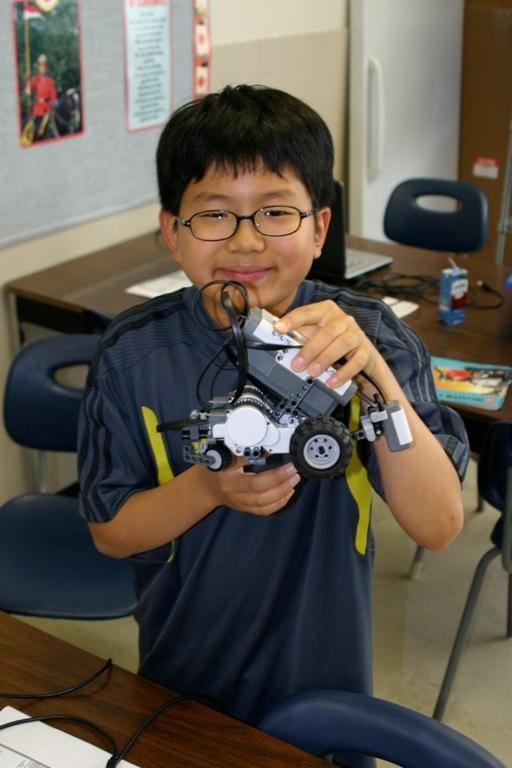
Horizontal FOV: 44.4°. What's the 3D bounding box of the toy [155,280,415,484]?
[{"bbox_3d":[0.019,-0.007,0.579,0.235,0.179,0.136,0,32,1],"label":"toy"}]
